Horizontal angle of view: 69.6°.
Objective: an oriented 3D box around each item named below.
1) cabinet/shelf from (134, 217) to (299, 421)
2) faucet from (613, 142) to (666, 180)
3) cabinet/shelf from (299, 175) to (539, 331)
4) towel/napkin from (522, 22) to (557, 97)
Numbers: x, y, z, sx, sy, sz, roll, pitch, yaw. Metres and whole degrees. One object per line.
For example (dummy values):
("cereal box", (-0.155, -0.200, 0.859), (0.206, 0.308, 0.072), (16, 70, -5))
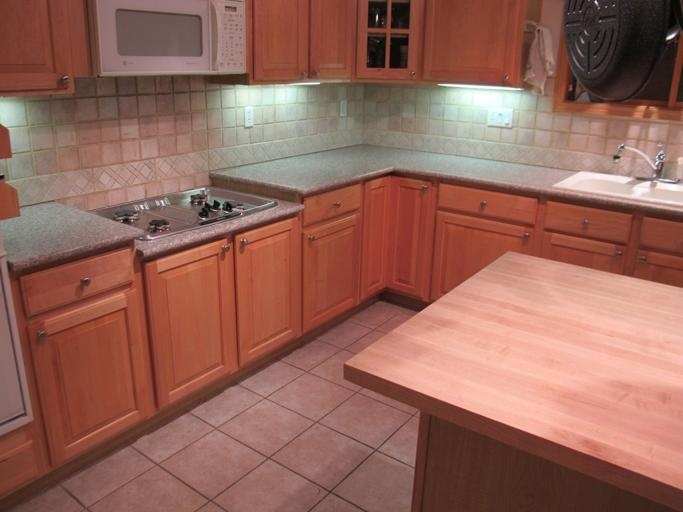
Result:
("cabinet/shelf", (-0.827, 0.244, 2.913), (0.644, 1.018, 1.131), (17, 24, 36))
("faucet", (1.995, -0.630, 3.255), (0.070, 0.212, 0.299), (-32, 48, -25))
("cabinet/shelf", (0.487, -0.024, 3.199), (1.227, 0.781, 1.230), (9, 19, 33))
("towel/napkin", (1.369, -1.384, 3.427), (0.132, 0.396, 0.298), (-3, 20, -24))
